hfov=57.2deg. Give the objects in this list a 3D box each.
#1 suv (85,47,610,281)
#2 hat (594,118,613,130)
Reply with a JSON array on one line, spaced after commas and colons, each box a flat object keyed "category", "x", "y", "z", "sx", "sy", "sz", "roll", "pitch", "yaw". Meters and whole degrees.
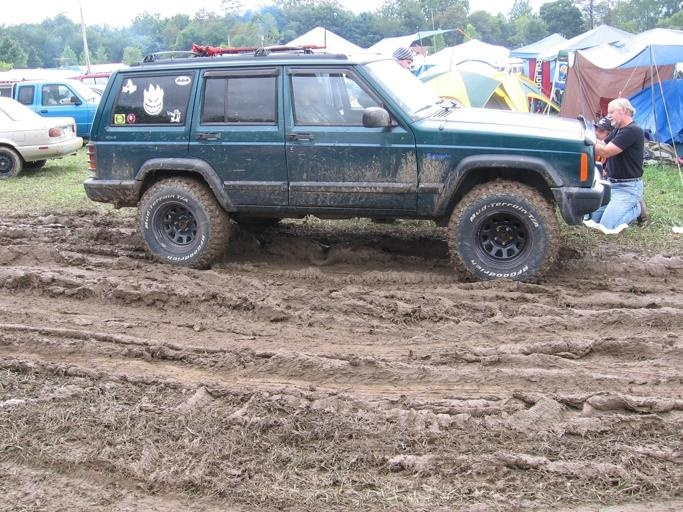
[{"category": "suv", "x": -0.224, "y": -1.241, "z": 7.741, "sx": 6.217, "sy": 1.977, "sz": 2.525, "roll": 0, "pitch": 16, "yaw": 10}, {"category": "hat", "x": 3.756, "y": -1.895, "z": 8.962, "sx": 0.259, "sy": 0.105, "sz": 0.171, "roll": 20, "pitch": 24, "yaw": 37}]
